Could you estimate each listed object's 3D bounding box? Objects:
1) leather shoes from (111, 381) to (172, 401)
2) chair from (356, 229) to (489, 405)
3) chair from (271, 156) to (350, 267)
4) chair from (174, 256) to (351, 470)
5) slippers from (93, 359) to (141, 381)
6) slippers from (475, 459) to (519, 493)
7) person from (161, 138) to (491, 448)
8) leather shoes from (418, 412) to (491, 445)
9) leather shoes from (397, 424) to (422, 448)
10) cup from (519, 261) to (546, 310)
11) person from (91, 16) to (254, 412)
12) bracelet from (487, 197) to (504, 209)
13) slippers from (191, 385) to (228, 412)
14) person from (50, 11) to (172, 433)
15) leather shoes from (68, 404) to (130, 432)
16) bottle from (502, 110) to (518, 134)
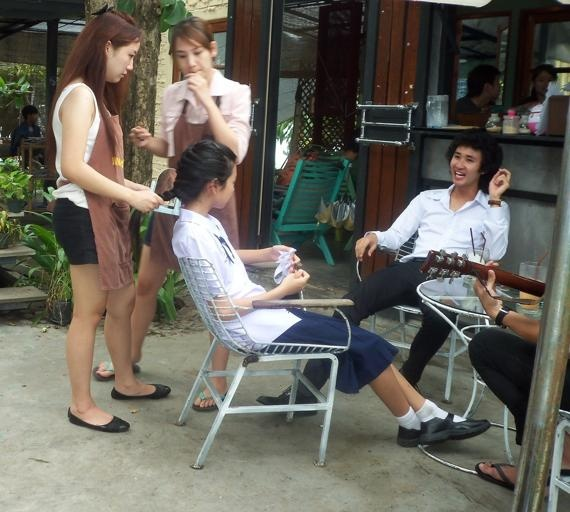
[{"bbox_3d":[-0.759,0.718,2.786,0.303,0.076,0.106,-2,8,-18],"label":"leather shoes"},{"bbox_3d":[0.675,0.320,3.546,0.637,0.866,0.738,16,3,6],"label":"chair"},{"bbox_3d":[0.110,-0.565,6.627,1.115,1.297,0.971,9,11,41],"label":"chair"},{"bbox_3d":[-0.113,0.433,2.348,0.721,0.905,0.853,2,9,-9],"label":"chair"},{"bbox_3d":[-0.962,0.669,3.084,0.269,0.104,0.103,8,1,-32],"label":"slippers"},{"bbox_3d":[0.863,0.895,2.159,0.168,0.066,0.040,27,-14,42],"label":"slippers"},{"bbox_3d":[0.201,0.222,2.318,1.543,1.245,0.561,4,9,-6],"label":"person"},{"bbox_3d":[0.728,0.761,2.379,0.348,0.127,0.123,-10,-4,-5],"label":"leather shoes"},{"bbox_3d":[0.577,0.822,2.443,0.070,0.084,0.131,4,8,21],"label":"leather shoes"},{"bbox_3d":[1.160,0.112,2.497,0.128,0.196,0.124,3,1,0],"label":"cup"},{"bbox_3d":[-0.562,-0.223,2.635,0.739,1.734,0.508,1,5,-3],"label":"person"},{"bbox_3d":[1.217,-0.307,3.065,0.069,0.039,0.068,-2,-4,31],"label":"bracelet"},{"bbox_3d":[-0.383,0.724,2.773,0.139,0.089,0.259,2,-2,28],"label":"slippers"},{"bbox_3d":[-0.834,-0.143,2.417,0.441,1.887,0.512,1,10,-19],"label":"person"},{"bbox_3d":[-0.881,0.751,2.471,0.308,0.082,0.101,5,6,2],"label":"leather shoes"},{"bbox_3d":[1.502,-0.889,3.515,0.101,0.181,0.201,7,10,20],"label":"bottle"}]
